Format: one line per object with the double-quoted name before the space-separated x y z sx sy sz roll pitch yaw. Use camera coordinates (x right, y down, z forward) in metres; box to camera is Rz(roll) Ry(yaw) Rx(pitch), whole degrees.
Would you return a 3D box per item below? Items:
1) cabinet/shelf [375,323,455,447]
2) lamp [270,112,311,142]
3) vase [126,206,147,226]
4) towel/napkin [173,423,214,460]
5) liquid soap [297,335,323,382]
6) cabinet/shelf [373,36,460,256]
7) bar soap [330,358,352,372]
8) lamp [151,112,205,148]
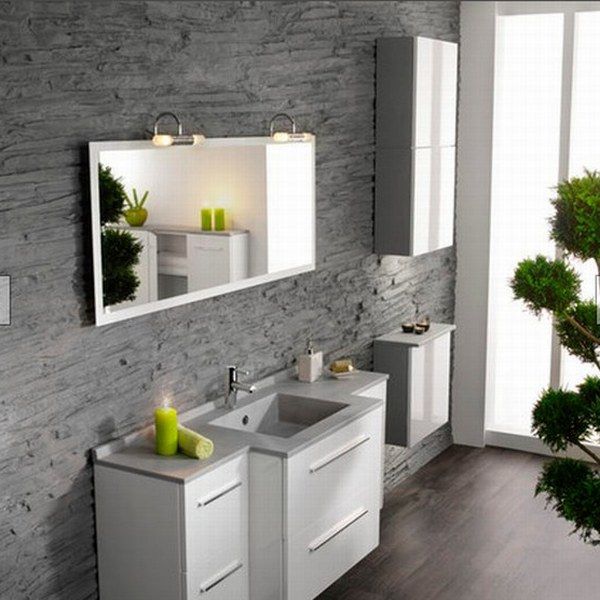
"cabinet/shelf" 0.692 0.513 3.648 0.383 0.775 0.890 2 8 26
"lamp" -0.048 -0.806 2.744 0.189 0.164 0.353 1 7 1
"vase" -0.574 -0.294 2.039 0.066 0.058 0.066 -17 19 -30
"towel/napkin" -0.372 0.459 2.032 0.082 0.071 0.175 -6 7 -36
"liquid soap" 0.041 0.309 3.056 0.128 0.191 0.249 0 8 -4
"cabinet/shelf" 0.738 -0.942 3.605 0.663 1.321 0.249 -7 11 -42
"bar soap" 0.202 0.343 3.116 0.078 0.046 0.075 -3 3 -20
"lamp" -0.472 -0.610 2.118 0.091 0.140 0.261 9 12 37
